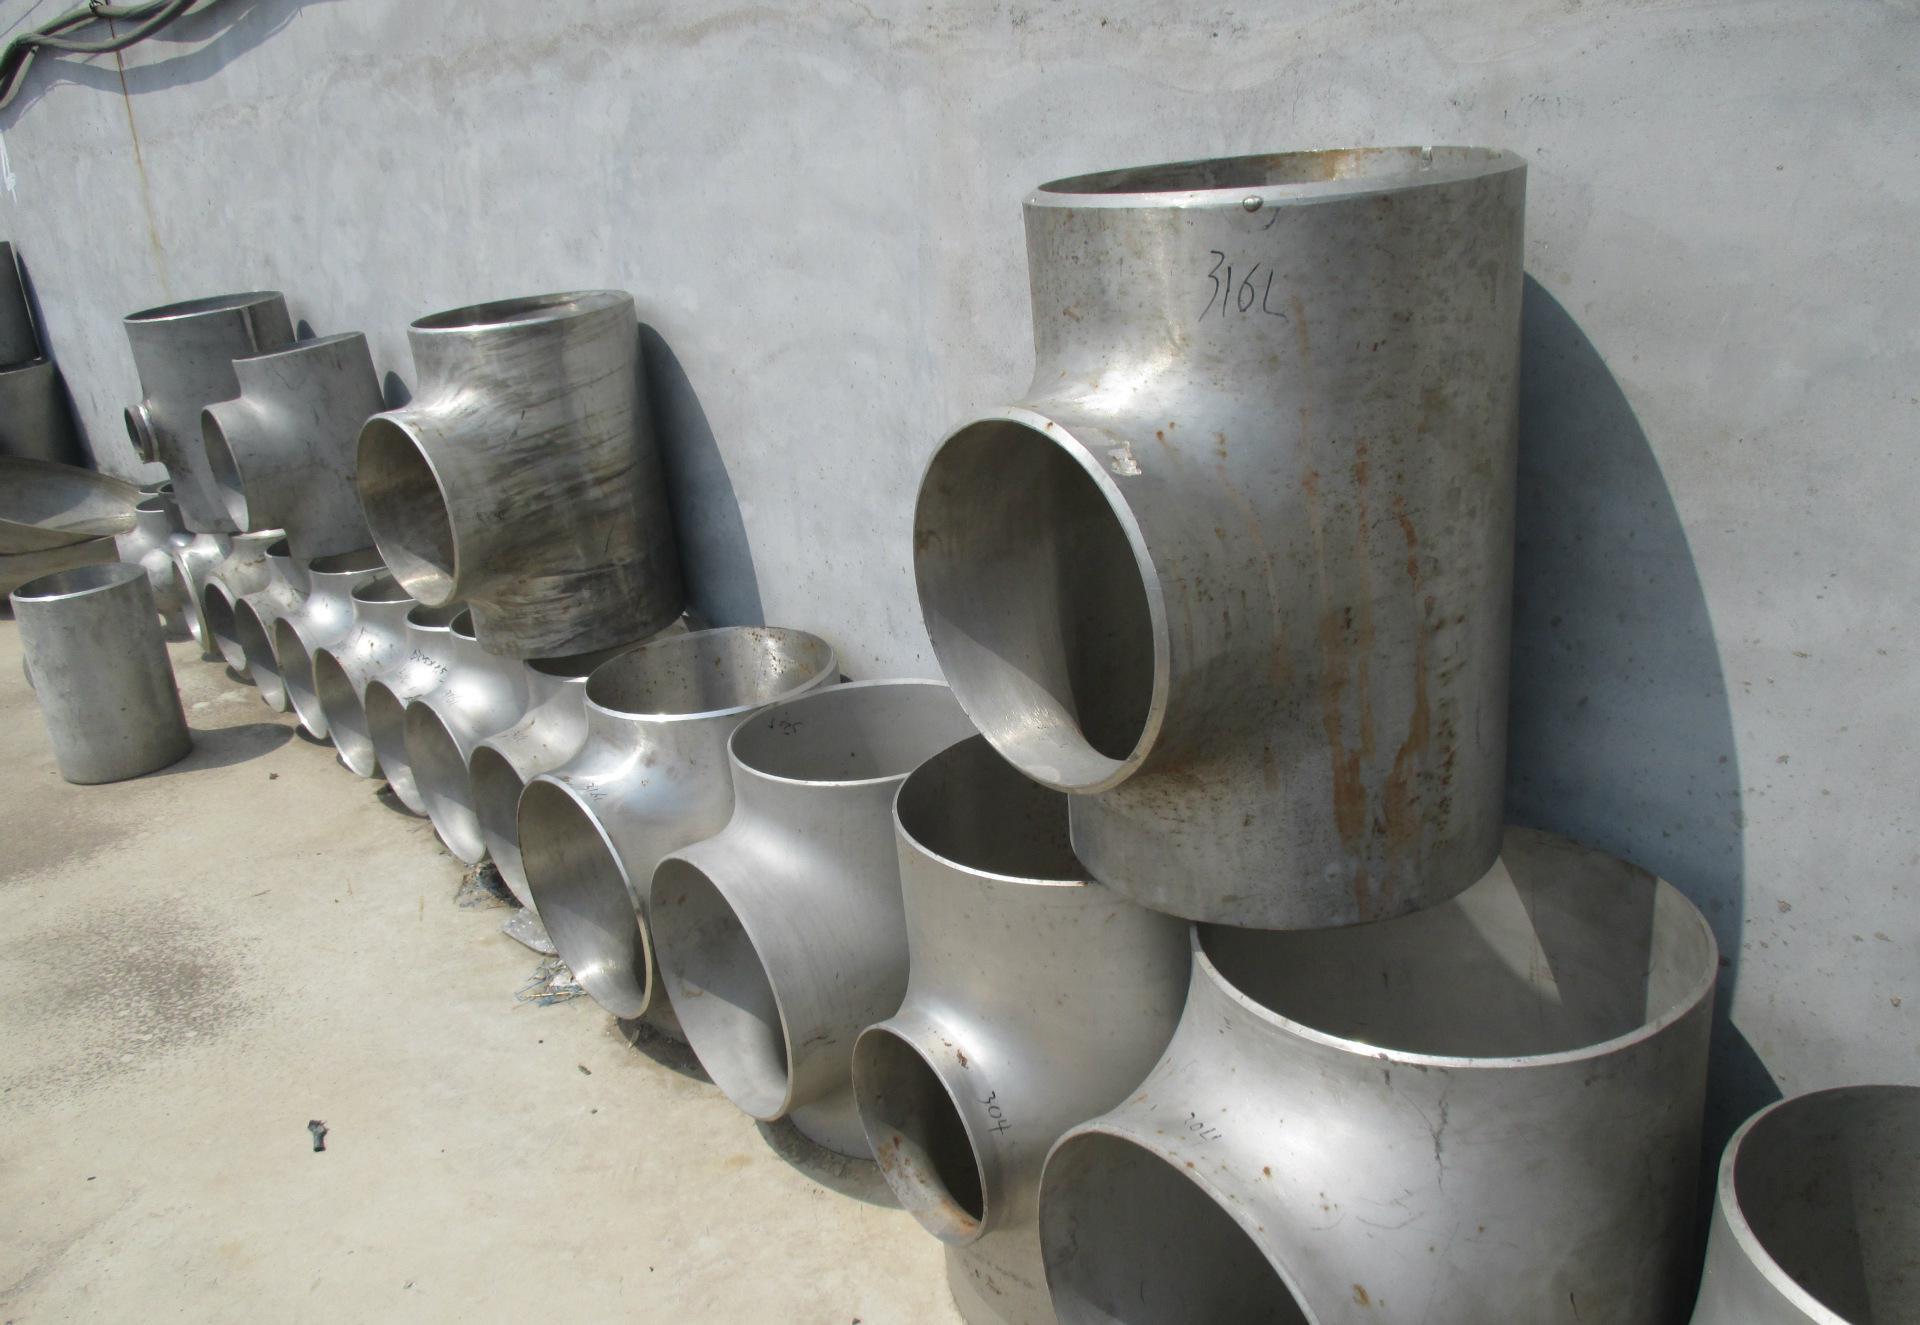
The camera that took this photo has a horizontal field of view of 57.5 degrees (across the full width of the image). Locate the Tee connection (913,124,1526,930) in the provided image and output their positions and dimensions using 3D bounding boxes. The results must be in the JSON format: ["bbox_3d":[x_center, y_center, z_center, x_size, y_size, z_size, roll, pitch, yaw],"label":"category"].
[{"bbox_3d":[0.425,-0.221,2.450,0.629,1.053,0.967,11,38,35],"label":"Tee connection"}]

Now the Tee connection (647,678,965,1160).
[{"bbox_3d":[-0.170,0.356,3.059,0.588,0.441,0.595,-19,-32,17],"label":"Tee connection"}]
